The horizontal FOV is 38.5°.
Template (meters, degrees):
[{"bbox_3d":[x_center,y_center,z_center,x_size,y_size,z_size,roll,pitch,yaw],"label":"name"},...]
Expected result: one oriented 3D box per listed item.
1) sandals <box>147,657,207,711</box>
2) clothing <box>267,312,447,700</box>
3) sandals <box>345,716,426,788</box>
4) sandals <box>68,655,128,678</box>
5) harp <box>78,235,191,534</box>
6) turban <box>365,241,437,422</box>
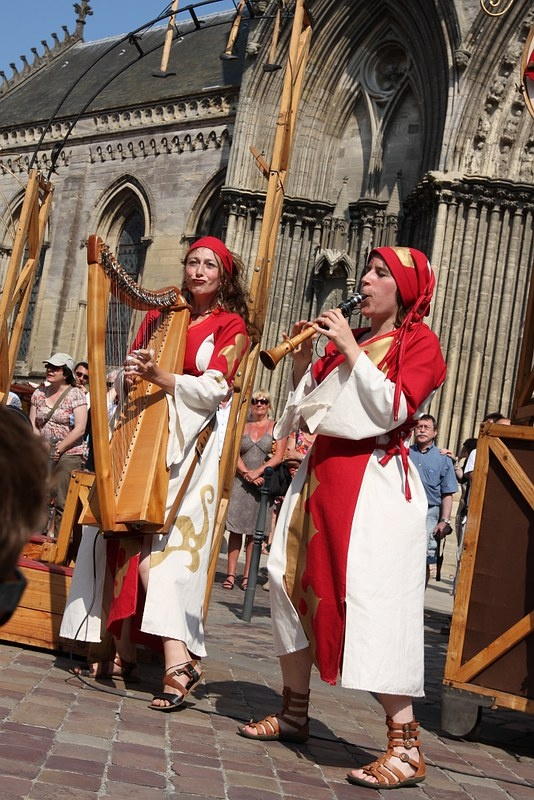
[{"bbox_3d":[-0.377,1.186,3.223,0.112,0.108,0.285,-8,12,24],"label":"sandals"},{"bbox_3d":[0.336,0.352,2.941,0.460,0.983,0.667,13,-5,-33],"label":"clothing"},{"bbox_3d":[0.436,1.280,2.806,0.346,0.275,0.166,5,-11,-16],"label":"sandals"},{"bbox_3d":[-0.804,1.239,3.549,0.283,0.086,0.097,5,-8,-17],"label":"sandals"},{"bbox_3d":[-0.575,-0.014,3.213,0.470,1.037,0.770,10,-4,0],"label":"harp"},{"bbox_3d":[0.590,-0.307,3.033,0.155,0.568,0.368,8,-5,-42],"label":"turban"}]
